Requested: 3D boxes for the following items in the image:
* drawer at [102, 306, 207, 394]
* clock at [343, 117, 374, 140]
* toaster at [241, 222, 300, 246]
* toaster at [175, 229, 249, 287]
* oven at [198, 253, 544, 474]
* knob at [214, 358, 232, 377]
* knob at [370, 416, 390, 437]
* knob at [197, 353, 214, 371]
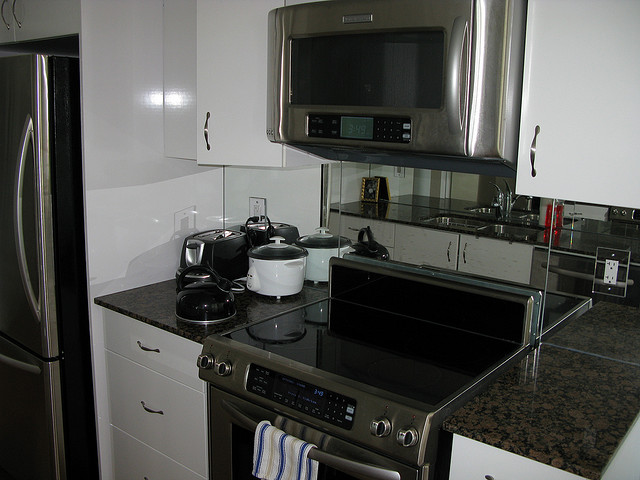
[{"bbox_3d":[-0.687,0.448,2.119,0.364,0.095,0.364,22,5,24],"label":"drawer"},{"bbox_3d":[0.135,-0.377,1.679,0.075,0.055,0.008,12,12,32],"label":"clock"},{"bbox_3d":[-0.221,-0.041,2.644,0.190,0.148,0.148,3,12,8],"label":"toaster"},{"bbox_3d":[-0.536,0.095,2.544,0.237,0.250,0.372,9,13,22],"label":"toaster"},{"bbox_3d":[0.158,0.531,1.891,0.891,0.736,0.918,11,17,43],"label":"oven"},{"bbox_3d":[-0.351,0.458,1.784,0.048,0.069,0.024,-7,-5,22],"label":"knob"},{"bbox_3d":[0.180,0.550,1.464,0.036,0.064,0.062,-4,3,-43],"label":"knob"},{"bbox_3d":[-0.418,0.445,1.821,0.046,0.066,0.023,1,-2,14],"label":"knob"}]
